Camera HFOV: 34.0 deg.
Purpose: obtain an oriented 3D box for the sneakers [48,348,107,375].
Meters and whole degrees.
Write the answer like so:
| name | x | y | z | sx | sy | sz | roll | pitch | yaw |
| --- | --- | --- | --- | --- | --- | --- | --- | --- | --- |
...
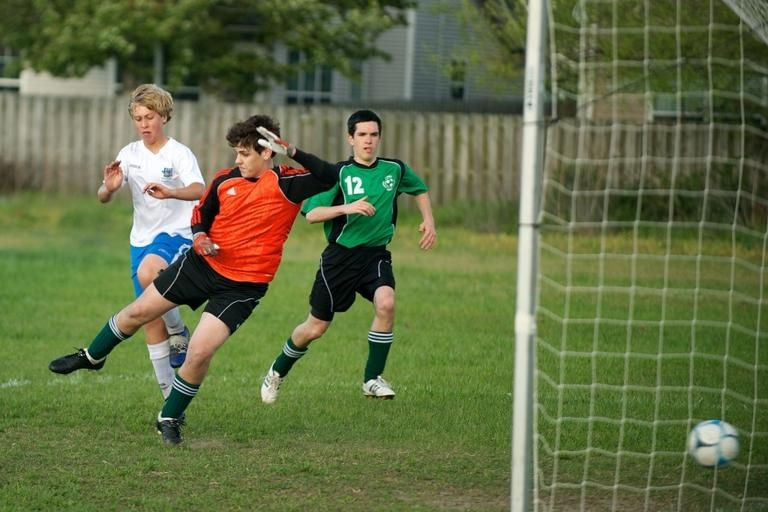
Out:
| name | x | y | z | sx | sy | sz | roll | pitch | yaw |
| --- | --- | --- | --- | --- | --- | --- | --- | --- | --- |
| sneakers | -2.572 | 0.858 | 10.687 | 0.555 | 0.250 | 0.204 | -3 | 50 | -23 |

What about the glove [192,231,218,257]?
| name | x | y | z | sx | sy | sz | roll | pitch | yaw |
| --- | --- | --- | --- | --- | --- | --- | --- | --- | --- |
| glove | -1.463 | -0.094 | 10.238 | 0.204 | 0.154 | 0.096 | 11 | 23 | 22 |

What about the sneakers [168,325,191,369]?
| name | x | y | z | sx | sy | sz | roll | pitch | yaw |
| --- | --- | --- | --- | --- | --- | --- | --- | --- | --- |
| sneakers | -1.812 | 0.817 | 11.037 | 0.145 | 0.462 | 0.183 | -2 | 0 | 1 |

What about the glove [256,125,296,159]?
| name | x | y | z | sx | sy | sz | roll | pitch | yaw |
| --- | --- | --- | --- | --- | --- | --- | --- | --- | --- |
| glove | -0.877 | -0.930 | 10.101 | 0.304 | 0.253 | 0.185 | -3 | 14 | -7 |

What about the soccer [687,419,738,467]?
| name | x | y | z | sx | sy | sz | roll | pitch | yaw |
| --- | --- | --- | --- | --- | --- | --- | --- | --- | --- |
| soccer | 2.514 | 1.455 | 9.671 | 0.355 | 0.362 | 0.332 | -4 | -13 | -4 |

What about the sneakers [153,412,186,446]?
| name | x | y | z | sx | sy | sz | roll | pitch | yaw |
| --- | --- | --- | --- | --- | --- | --- | --- | --- | --- |
| sneakers | -1.750 | 1.444 | 10.345 | 0.126 | 0.150 | 0.351 | 24 | 15 | -47 |

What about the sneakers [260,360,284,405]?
| name | x | y | z | sx | sy | sz | roll | pitch | yaw |
| --- | --- | --- | --- | --- | --- | --- | --- | --- | --- |
| sneakers | -1.002 | 1.125 | 10.988 | 0.134 | 0.399 | 0.168 | 16 | -15 | -29 |

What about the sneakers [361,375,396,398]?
| name | x | y | z | sx | sy | sz | roll | pitch | yaw |
| --- | --- | --- | --- | --- | --- | --- | --- | --- | --- |
| sneakers | -0.054 | 1.154 | 10.840 | 0.347 | 0.185 | 0.129 | 0 | -3 | 36 |
